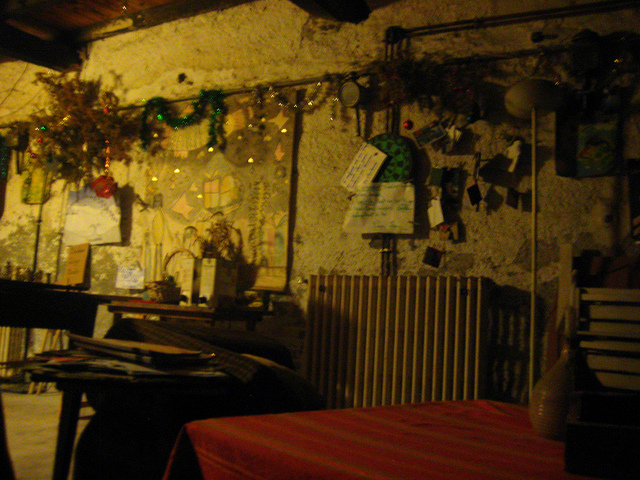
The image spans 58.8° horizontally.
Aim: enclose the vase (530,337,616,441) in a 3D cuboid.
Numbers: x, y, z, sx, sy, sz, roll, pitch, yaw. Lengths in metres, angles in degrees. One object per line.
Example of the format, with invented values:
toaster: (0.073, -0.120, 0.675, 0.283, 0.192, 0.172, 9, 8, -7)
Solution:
vase: (0.727, 0.424, 1.649, 0.220, 0.274, 0.206, 0, -4, 40)
